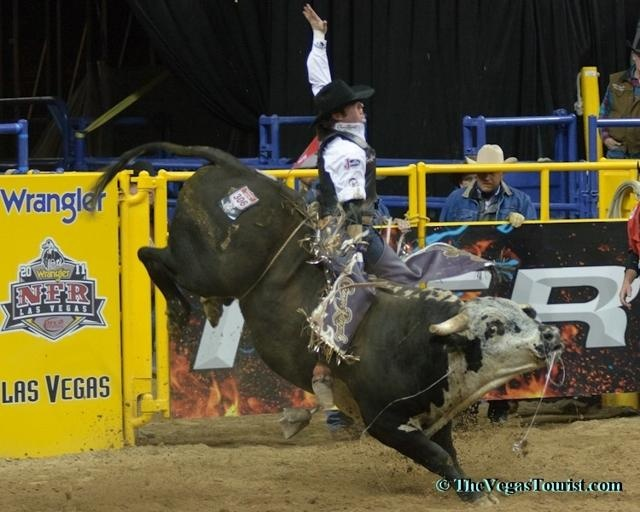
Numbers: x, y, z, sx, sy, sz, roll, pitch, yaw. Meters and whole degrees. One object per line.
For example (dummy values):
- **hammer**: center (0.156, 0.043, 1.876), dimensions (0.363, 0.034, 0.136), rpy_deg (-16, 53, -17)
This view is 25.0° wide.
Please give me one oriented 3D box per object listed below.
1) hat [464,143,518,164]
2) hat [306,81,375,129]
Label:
- **hat**: center (2.000, -1.205, 17.106), dimensions (0.590, 0.207, 0.621), rpy_deg (1, 2, 12)
- **hat**: center (0.209, -1.382, 13.086), dimensions (0.523, 0.416, 0.168), rpy_deg (1, 3, -2)
